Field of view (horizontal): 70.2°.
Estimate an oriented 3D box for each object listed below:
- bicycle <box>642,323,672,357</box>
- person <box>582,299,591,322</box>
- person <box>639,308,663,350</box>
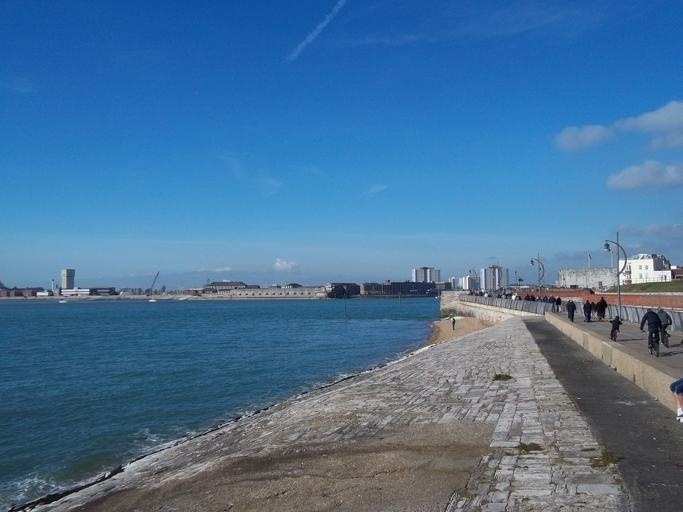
[{"bbox_3d":[11.901,2.967,17.867,1.348,0.853,1.878,-3,-2,23],"label":"bicycle"},{"bbox_3d":[16.372,3.479,32.283,0.418,1.323,1.355,-4,-4,28],"label":"person"},{"bbox_3d":[11.127,2.532,17.448,0.636,1.462,1.287,-4,-4,30],"label":"person"}]
